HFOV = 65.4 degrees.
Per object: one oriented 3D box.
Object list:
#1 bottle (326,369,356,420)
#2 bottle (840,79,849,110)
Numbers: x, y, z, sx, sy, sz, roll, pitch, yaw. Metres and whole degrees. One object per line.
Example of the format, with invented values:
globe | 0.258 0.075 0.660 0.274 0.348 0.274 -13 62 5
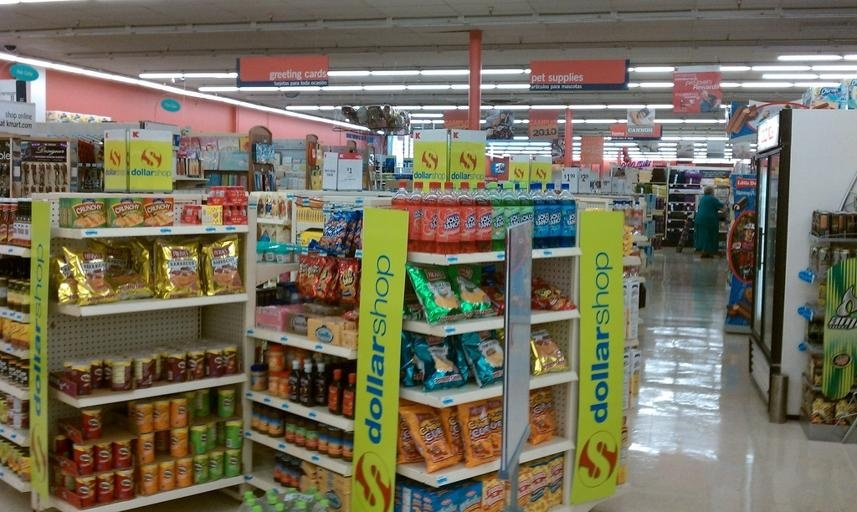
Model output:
bottle | -0.705 1.097 5.407 0.263 0.354 0.214 4 11 7
bottle | 4.732 -1.839 7.591 0.106 0.319 0.373 9 12 29
